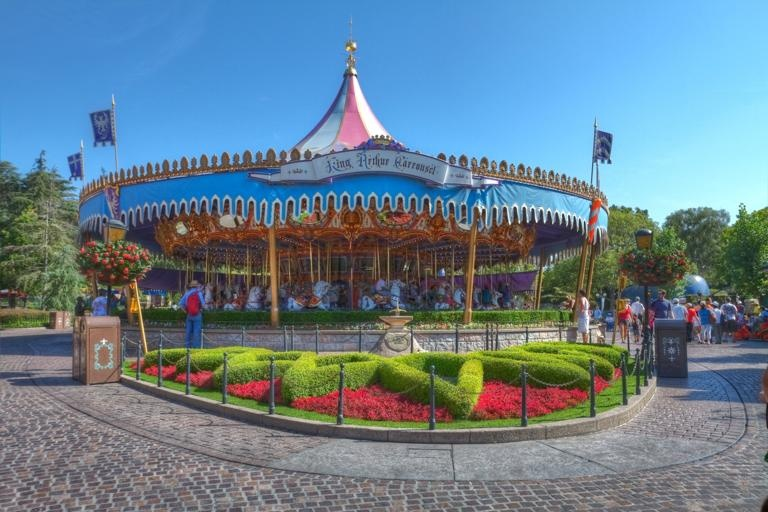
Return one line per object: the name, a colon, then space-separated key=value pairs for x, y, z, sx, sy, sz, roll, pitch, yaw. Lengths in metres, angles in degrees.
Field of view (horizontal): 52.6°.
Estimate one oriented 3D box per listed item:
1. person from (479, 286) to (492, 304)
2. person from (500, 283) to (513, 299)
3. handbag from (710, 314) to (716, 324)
person: x=5.069 y=1.966 z=38.335 sx=0.575 sy=0.903 sz=0.595 roll=0 pitch=-9 yaw=2
person: x=6.331 y=1.768 z=39.823 sx=0.648 sy=0.774 sz=0.680 roll=-1 pitch=-5 yaw=-8
handbag: x=15.671 y=2.951 z=37.047 sx=0.241 sy=0.358 sz=0.396 roll=5 pitch=15 yaw=20
